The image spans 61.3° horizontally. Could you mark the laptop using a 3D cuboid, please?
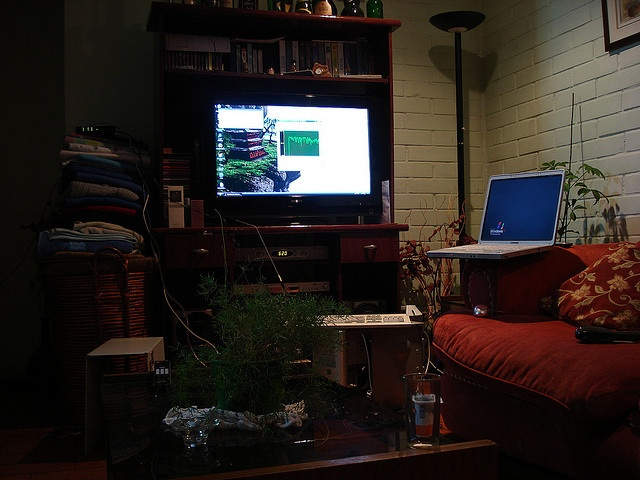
[{"bbox_3d":[0.895,-0.139,2.721,0.565,0.439,0.522,-3,1,-36],"label":"laptop"}]

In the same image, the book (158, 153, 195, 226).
[{"bbox_3d":[-0.832,-0.294,3.160,0.168,0.433,0.273,-3,4,-8],"label":"book"}]

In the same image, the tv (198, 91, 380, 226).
[{"bbox_3d":[-0.239,-0.511,3.362,0.849,0.603,0.090,-1,3,-12],"label":"tv"}]

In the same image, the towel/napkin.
[{"bbox_3d":[-1.191,-0.240,2.896,0.547,0.721,0.212,4,-3,-34],"label":"towel/napkin"}]

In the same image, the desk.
[{"bbox_3d":[0.218,0.453,2.214,0.396,0.288,0.350,2,-2,-8],"label":"desk"}]

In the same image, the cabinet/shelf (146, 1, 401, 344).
[{"bbox_3d":[-0.237,-0.461,3.319,1.528,1.857,0.702,-4,4,-16],"label":"cabinet/shelf"}]
